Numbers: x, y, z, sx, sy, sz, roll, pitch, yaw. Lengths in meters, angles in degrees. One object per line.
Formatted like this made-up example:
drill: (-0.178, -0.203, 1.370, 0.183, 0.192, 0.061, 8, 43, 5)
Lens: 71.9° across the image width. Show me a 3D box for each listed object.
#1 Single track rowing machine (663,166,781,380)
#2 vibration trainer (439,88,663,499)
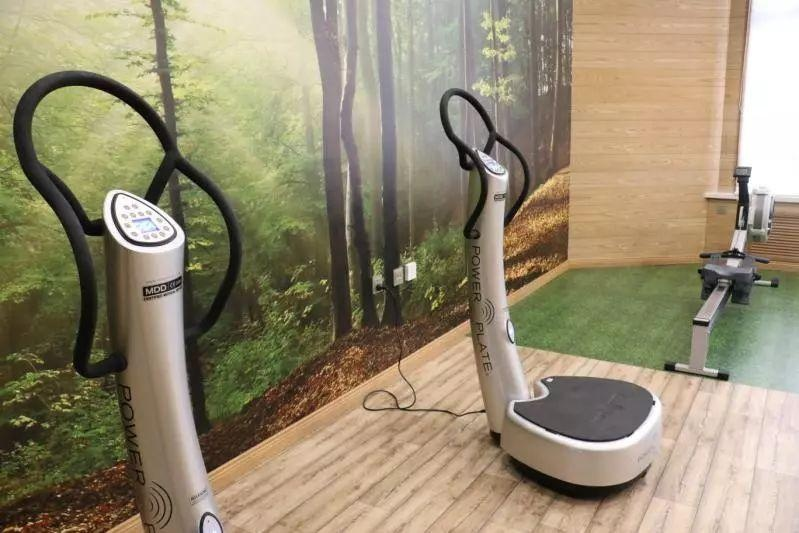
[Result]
Single track rowing machine: (2.409, -0.117, 4.908, 0.788, 1.664, 2.778, 3, 22, 32)
vibration trainer: (0.831, 0.075, 3.013, 1.253, 1.974, 0.965, 8, 16, 33)
